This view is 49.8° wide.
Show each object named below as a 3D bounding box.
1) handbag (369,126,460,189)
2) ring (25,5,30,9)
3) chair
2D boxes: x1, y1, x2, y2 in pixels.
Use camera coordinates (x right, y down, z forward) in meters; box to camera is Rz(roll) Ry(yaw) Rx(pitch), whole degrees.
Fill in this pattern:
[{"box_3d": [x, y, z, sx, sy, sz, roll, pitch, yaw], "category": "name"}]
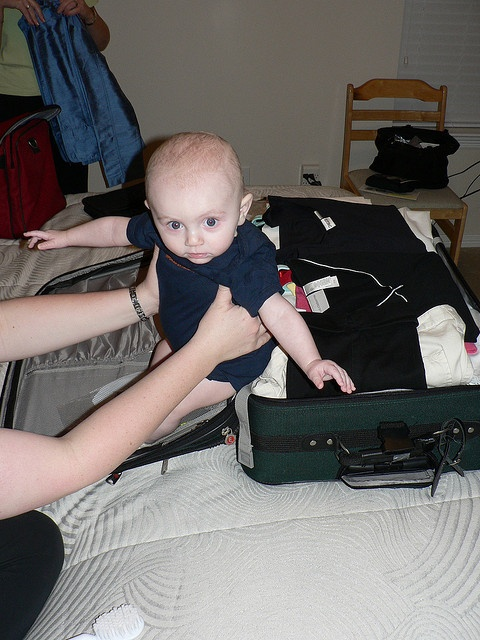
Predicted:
[{"box_3d": [0.762, -0.706, 2.248, 0.325, 0.198, 0.348, -11, 33, -12], "category": "handbag"}, {"box_3d": [-0.676, -0.988, 1.634, 0.013, 0.011, 0.003, 4, 4, 3], "category": "ring"}, {"box_3d": [0.812, -0.712, 2.534, 0.641, 0.757, 0.611, 7, 15, 4], "category": "chair"}]
